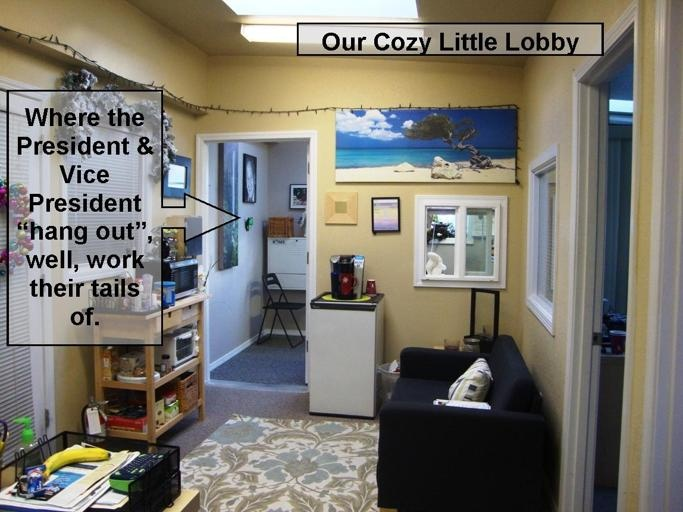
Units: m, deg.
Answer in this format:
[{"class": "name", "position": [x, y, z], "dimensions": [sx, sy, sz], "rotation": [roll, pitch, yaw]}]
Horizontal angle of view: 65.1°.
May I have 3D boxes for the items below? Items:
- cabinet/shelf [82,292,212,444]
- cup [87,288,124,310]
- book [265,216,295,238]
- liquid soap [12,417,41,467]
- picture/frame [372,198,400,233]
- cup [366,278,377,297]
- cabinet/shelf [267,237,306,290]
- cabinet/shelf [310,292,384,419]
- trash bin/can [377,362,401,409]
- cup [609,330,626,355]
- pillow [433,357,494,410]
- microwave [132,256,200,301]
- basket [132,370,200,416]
[{"class": "cabinet/shelf", "position": [-1.445, 0.865, 4.209], "dimensions": [0.439, 1.040, 1.092], "rotation": [0, 1, 7]}, {"class": "cup", "position": [-1.548, 0.284, 3.538], "dimensions": [0.188, 0.136, 0.105], "rotation": [2, 4, 5]}, {"class": "book", "position": [-0.811, -0.387, 7.111], "dimensions": [0.269, 0.213, 0.283], "rotation": [0, 1, -4]}, {"class": "liquid soap", "position": [-1.617, 0.958, 2.768], "dimensions": [0.151, 0.226, 0.151], "rotation": [-9, -5, 26]}, {"class": "picture/frame", "position": [0.426, -0.392, 4.976], "dimensions": [0.299, 0.370, 0.025], "rotation": [0, 1, 1]}, {"class": "cup", "position": [0.283, 0.295, 4.984], "dimensions": [0.116, 0.139, 0.124], "rotation": [1, -1, 0]}, {"class": "cabinet/shelf", "position": [-0.701, 0.084, 7.071], "dimensions": [0.646, 0.684, 0.378], "rotation": [0, 1, 5]}, {"class": "cabinet/shelf", "position": [0.099, 0.889, 4.911], "dimensions": [0.845, 1.002, 0.854], "rotation": [0, 1, -20]}, {"class": "trash bin/can", "position": [0.435, 1.134, 4.740], "dimensions": [0.267, 0.407, 0.308], "rotation": [0, -9, -6]}, {"class": "cup", "position": [1.800, 0.549, 3.479], "dimensions": [0.089, 0.159, 0.175], "rotation": [5, 8, 32]}, {"class": "pillow", "position": [0.800, 0.860, 3.496], "dimensions": [0.092, 0.311, 0.316], "rotation": [35, 35, -11]}, {"class": "microwave", "position": [-1.351, 0.194, 4.271], "dimensions": [0.287, 0.337, 0.502], "rotation": [0, 4, 8]}, {"class": "basket", "position": [-1.351, 1.071, 4.343], "dimensions": [0.237, 0.221, 0.356], "rotation": [0, 3, 15]}]
